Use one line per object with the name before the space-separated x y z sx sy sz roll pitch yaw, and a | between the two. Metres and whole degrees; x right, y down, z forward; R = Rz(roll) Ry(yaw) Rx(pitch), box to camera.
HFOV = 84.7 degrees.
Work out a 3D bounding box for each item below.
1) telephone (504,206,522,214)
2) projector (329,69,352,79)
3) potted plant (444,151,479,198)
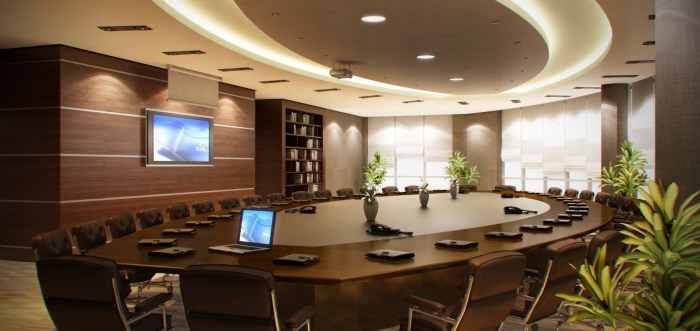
telephone | 3.647 0.983 8.579 0.271 0.081 0.182 1 6 18
projector | -0.231 -2.504 10.296 0.559 0.271 0.276 -1 1 -5
potted plant | 3.412 0.302 11.987 1.246 1.246 0.820 7 5 3
